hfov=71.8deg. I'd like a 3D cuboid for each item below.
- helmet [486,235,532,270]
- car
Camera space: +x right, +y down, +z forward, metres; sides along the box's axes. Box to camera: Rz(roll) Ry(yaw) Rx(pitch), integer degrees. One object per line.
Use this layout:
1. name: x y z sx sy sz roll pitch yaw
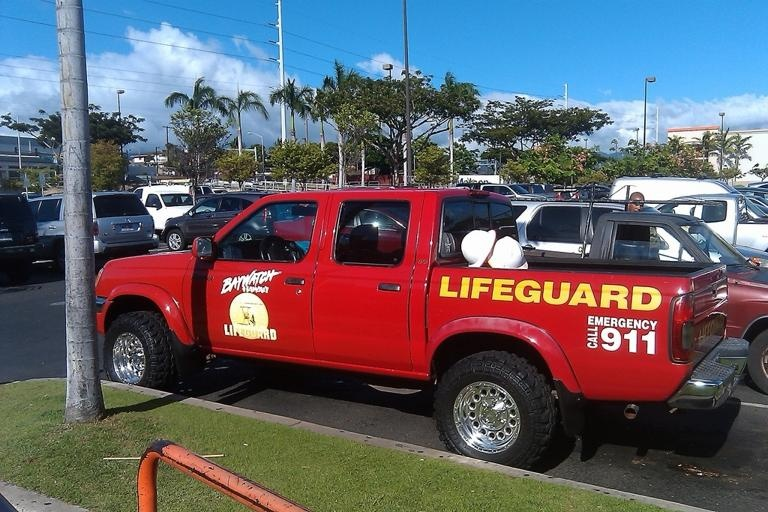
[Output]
1. helmet: 1.283 -0.014 5.446 0.363 0.315 0.282 -14 12 27
2. car: -0.283 0.667 6.996 8.224 2.809 3.347 3 4 26
